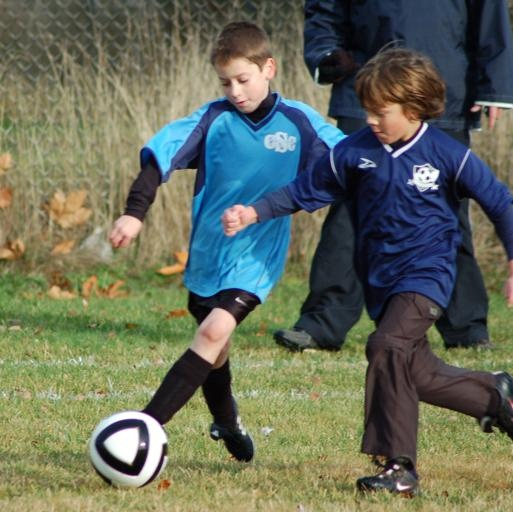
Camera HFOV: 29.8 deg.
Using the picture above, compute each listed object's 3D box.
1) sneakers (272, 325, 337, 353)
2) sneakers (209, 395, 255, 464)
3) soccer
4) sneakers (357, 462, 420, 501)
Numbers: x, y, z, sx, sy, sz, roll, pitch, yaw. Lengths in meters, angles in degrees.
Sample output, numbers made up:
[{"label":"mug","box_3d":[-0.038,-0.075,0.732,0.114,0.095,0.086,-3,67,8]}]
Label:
[{"label":"sneakers","box_3d":[0.288,0.517,5.444,0.372,0.175,0.123,19,-19,-22]},{"label":"sneakers","box_3d":[-0.093,0.724,3.957,0.097,0.282,0.121,-23,28,25]},{"label":"soccer","box_3d":[-0.438,0.692,3.487,0.298,0.234,0.256,-18,-8,-27]},{"label":"sneakers","box_3d":[0.470,0.801,3.391,0.183,0.115,0.083,-7,-25,-12]}]
